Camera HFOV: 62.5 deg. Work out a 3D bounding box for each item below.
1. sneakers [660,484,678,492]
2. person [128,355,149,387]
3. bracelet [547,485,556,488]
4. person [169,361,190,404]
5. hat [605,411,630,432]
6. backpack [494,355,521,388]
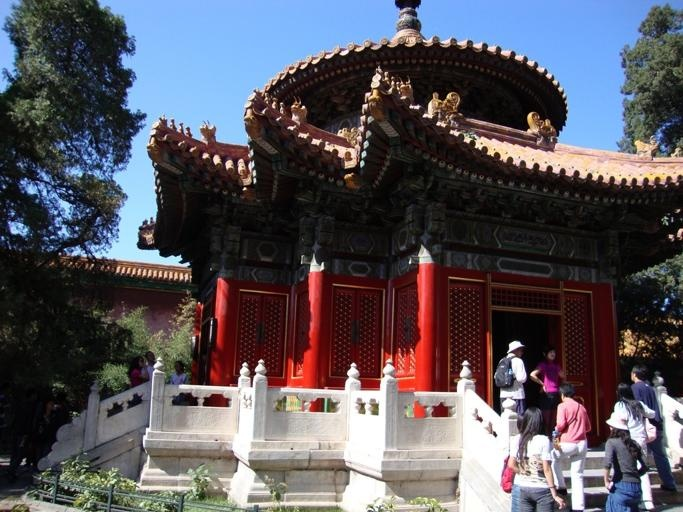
[{"bbox_3d":[5.285,3.753,9.067,0.280,0.106,0.112,6,-16,-14],"label":"sneakers"},{"bbox_3d":[-4.338,2.474,12.074,0.411,0.672,0.834,7,-16,-19],"label":"person"},{"bbox_3d":[2.354,2.599,6.327,0.053,0.022,0.039,7,-5,-15],"label":"bracelet"},{"bbox_3d":[-3.513,2.866,12.095,0.436,1.191,0.329,5,12,3],"label":"person"},{"bbox_3d":[3.817,2.290,7.684,0.308,0.165,0.250,31,-12,-10],"label":"hat"},{"bbox_3d":[2.612,1.846,8.998,0.227,0.535,0.363,7,-16,-16],"label":"backpack"}]
